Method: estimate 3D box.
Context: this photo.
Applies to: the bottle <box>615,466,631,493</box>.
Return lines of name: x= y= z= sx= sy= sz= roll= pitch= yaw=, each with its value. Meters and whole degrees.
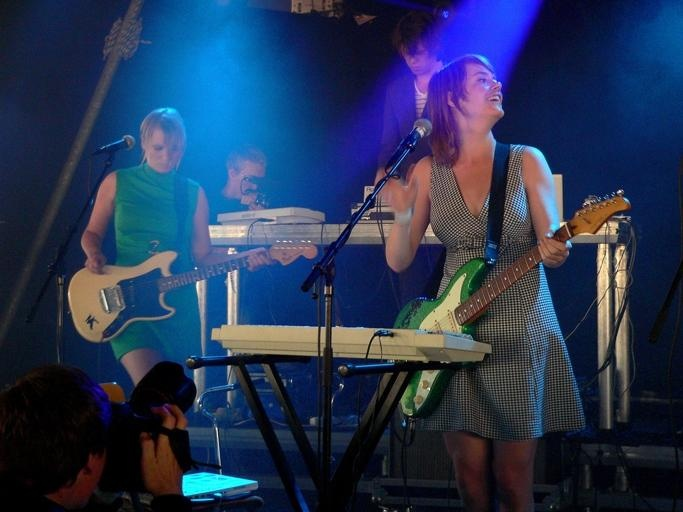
bottle: x=1.614 y=1.275 z=4.684 sx=0.080 sy=0.143 sz=0.056 roll=1 pitch=-6 yaw=22

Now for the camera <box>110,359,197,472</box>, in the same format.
camera: x=-0.721 y=0.638 z=3.151 sx=0.323 sy=0.377 sz=0.136 roll=30 pitch=-27 yaw=2

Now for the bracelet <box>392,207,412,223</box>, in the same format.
bracelet: x=0.289 y=-0.201 z=3.961 sx=0.069 sy=0.060 sz=0.069 roll=8 pitch=14 yaw=41

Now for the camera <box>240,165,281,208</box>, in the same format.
camera: x=-0.688 y=-0.533 z=6.534 sx=0.281 sy=0.095 sz=0.283 roll=10 pitch=-16 yaw=-43
